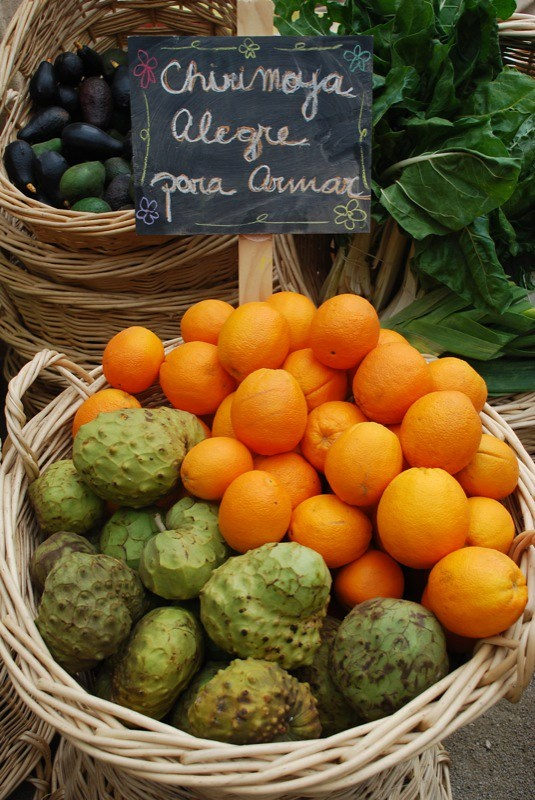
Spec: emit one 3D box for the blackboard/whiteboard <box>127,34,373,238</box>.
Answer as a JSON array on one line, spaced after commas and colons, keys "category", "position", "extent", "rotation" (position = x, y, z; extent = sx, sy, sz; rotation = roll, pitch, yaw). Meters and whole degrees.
[{"category": "blackboard/whiteboard", "position": [-0.021, -0.422, 1.073], "extent": [0.347, 0.247, 0.005], "rotation": [-1, 15, -1]}]
